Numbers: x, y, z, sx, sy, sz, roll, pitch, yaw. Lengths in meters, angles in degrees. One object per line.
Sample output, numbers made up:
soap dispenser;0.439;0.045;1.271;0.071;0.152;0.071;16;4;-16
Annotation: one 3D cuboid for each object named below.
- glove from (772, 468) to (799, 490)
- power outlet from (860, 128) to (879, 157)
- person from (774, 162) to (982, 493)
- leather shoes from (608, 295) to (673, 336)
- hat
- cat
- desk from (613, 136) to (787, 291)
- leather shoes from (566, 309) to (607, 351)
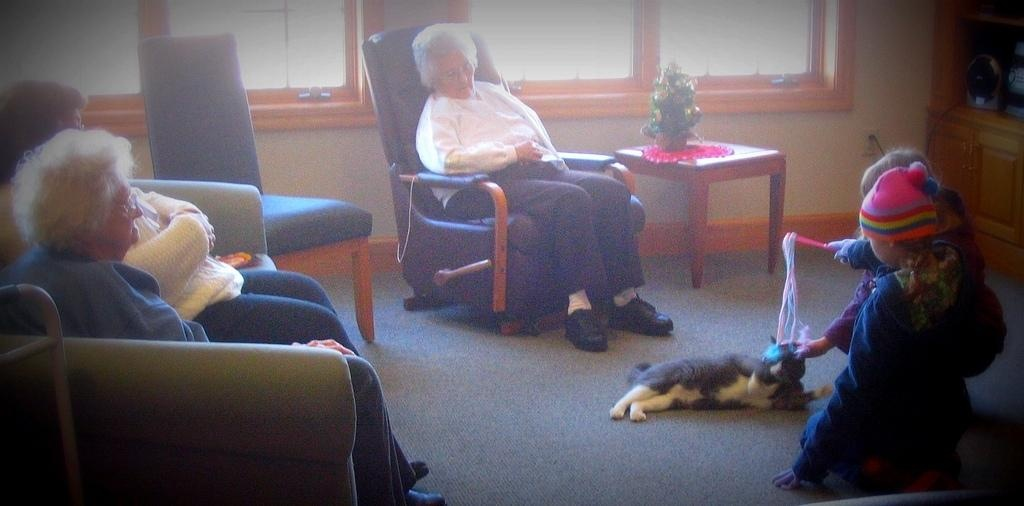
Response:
glove;1.138;0.945;3.088;0.121;0.101;0.059;6;6;20
power outlet;2.471;-0.776;5.066;0.208;0.206;0.030;-4;5;-6
person;1.509;0.294;2.977;0.825;1.311;0.382;-2;12;8
leather shoes;0.710;0.331;4.090;0.350;0.179;0.172;7;19;16
hat;1.596;-0.212;2.823;0.353;0.262;0.263;-10;8;38
cat;0.963;0.572;3.399;0.886;0.266;0.432;-3;-6;11
desk;1.237;-0.301;4.926;1.063;0.882;1.004;-9;16;-32
leather shoes;0.392;0.411;3.903;0.175;0.139;0.248;-5;9;-26
